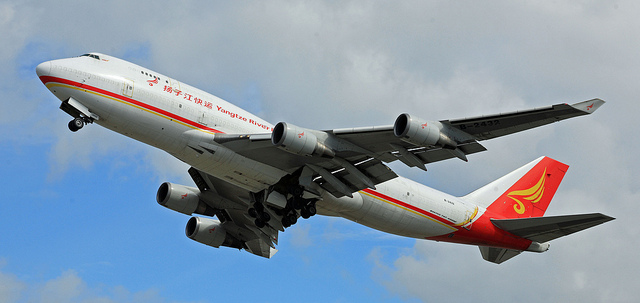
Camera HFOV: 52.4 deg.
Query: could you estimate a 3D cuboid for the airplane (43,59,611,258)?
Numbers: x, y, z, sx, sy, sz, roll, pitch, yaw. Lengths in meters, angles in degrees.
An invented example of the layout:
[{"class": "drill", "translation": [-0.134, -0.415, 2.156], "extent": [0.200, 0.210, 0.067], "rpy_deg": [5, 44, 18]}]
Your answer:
[{"class": "airplane", "translation": [-0.864, 0.655, 36.515], "extent": [40.666, 11.250, 10.645], "rpy_deg": [-1, -1, -20]}]
